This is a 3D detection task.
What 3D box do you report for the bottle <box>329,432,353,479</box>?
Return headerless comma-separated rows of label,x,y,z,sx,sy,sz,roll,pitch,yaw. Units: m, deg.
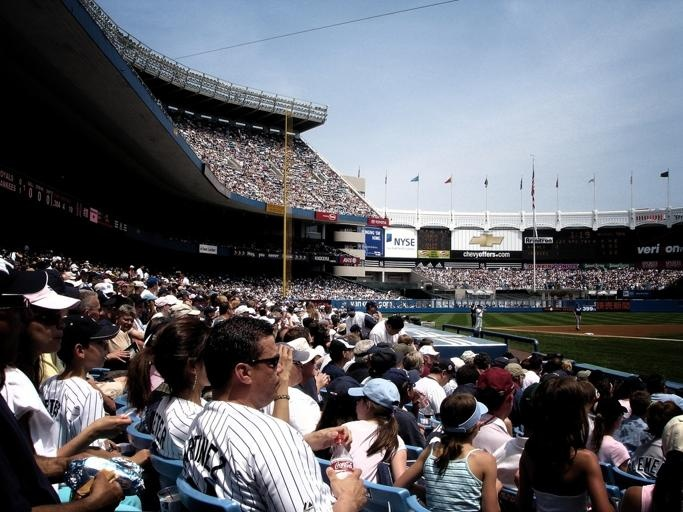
bottle,-0.001,1.395,4.262,0.112,0.115,0.331,-32,30,8
